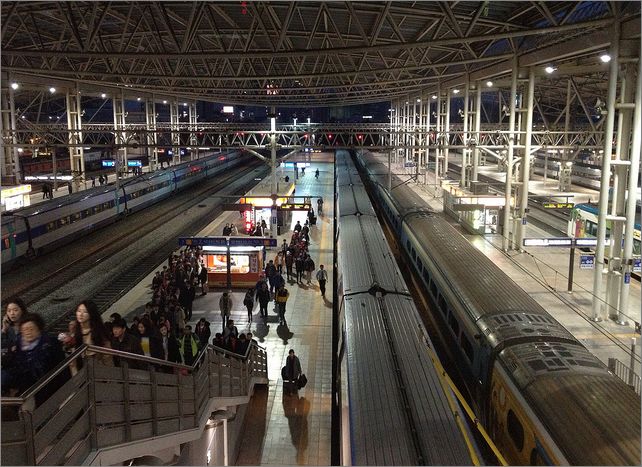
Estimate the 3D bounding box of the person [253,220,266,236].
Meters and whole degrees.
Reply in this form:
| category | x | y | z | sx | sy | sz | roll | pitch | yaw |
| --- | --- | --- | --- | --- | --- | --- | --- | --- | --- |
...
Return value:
| category | x | y | z | sx | sy | sz | roll | pitch | yaw |
| --- | --- | --- | --- | --- | --- | --- | --- | --- | --- |
| person | -4.444 | -0.380 | 31.448 | 0.908 | 1.858 | 0.565 | -3 | 15 | -17 |

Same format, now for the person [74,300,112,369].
| category | x | y | z | sx | sy | sz | roll | pitch | yaw |
| --- | --- | --- | --- | --- | --- | --- | --- | --- | --- |
| person | -3.527 | 1.454 | 6.622 | 0.491 | 0.739 | 1.387 | -10 | 18 | -31 |

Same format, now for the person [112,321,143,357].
| category | x | y | z | sx | sy | sz | roll | pitch | yaw |
| --- | --- | --- | --- | --- | --- | --- | --- | --- | --- |
| person | -3.530 | 1.903 | 7.868 | 0.430 | 0.488 | 0.797 | -11 | 18 | -32 |

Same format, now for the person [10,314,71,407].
| category | x | y | z | sx | sy | sz | roll | pitch | yaw |
| --- | --- | --- | --- | --- | --- | --- | --- | --- | --- |
| person | -3.776 | 1.601 | 5.766 | 0.636 | 0.830 | 1.475 | -13 | 19 | -37 |

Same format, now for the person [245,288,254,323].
| category | x | y | z | sx | sy | sz | roll | pitch | yaw |
| --- | --- | --- | --- | --- | --- | --- | --- | --- | --- |
| person | -3.358 | 3.281 | 20.317 | 0.451 | 1.628 | 1.504 | -4 | 15 | -11 |

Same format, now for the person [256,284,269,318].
| category | x | y | z | sx | sy | sz | roll | pitch | yaw |
| --- | --- | --- | --- | --- | --- | --- | --- | --- | --- |
| person | -2.684 | 3.066 | 20.196 | 0.490 | 1.974 | 0.751 | -5 | 14 | -16 |

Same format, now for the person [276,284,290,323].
| category | x | y | z | sx | sy | sz | roll | pitch | yaw |
| --- | --- | --- | --- | --- | --- | --- | --- | --- | --- |
| person | -1.793 | 3.190 | 20.215 | 0.569 | 1.847 | 1.305 | -2 | 15 | -5 |
